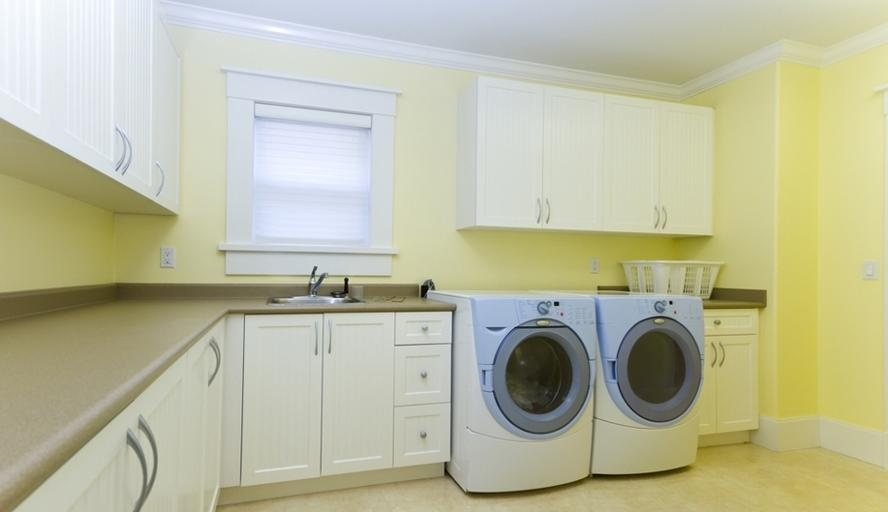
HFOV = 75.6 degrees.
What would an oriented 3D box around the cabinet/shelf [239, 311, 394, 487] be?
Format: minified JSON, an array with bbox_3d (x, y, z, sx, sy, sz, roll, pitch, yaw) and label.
[{"bbox_3d":[-0.942,0.988,4.008,1.394,1.056,0.508,1,-5,-16],"label":"cabinet/shelf"}]

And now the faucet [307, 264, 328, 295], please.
[{"bbox_3d":[-1.006,0.200,4.546,0.156,0.190,0.185,0,-1,-11],"label":"faucet"}]

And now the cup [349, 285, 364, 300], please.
[{"bbox_3d":[-0.693,0.290,4.526,0.118,0.148,0.113,0,2,0],"label":"cup"}]
